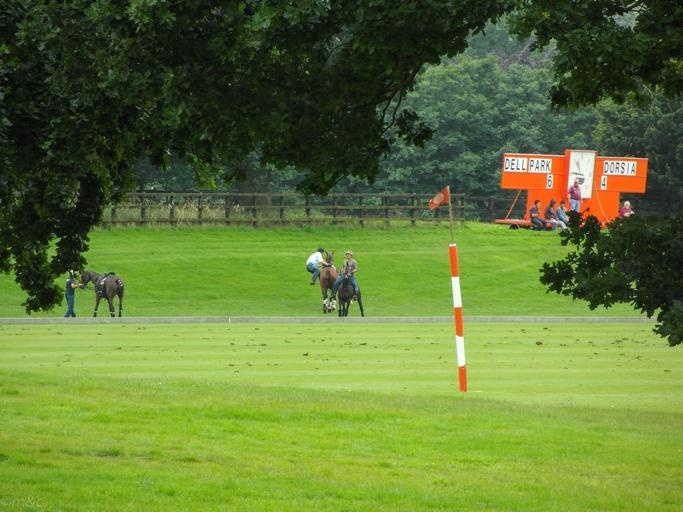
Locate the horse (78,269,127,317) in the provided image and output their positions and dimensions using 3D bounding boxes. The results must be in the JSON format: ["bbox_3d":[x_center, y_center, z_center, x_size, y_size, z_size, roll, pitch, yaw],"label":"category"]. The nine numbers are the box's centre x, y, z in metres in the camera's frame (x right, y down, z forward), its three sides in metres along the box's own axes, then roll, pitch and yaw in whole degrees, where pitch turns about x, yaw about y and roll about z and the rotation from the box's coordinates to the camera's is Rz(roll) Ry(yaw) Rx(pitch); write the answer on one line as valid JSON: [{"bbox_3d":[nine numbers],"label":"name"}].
[{"bbox_3d":[-6.303,0.979,46.393,1.023,1.200,1.303,-1,0,-39],"label":"horse"}]

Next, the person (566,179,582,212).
[{"bbox_3d":[7.983,-2.155,60.145,0.449,1.042,1.973,-1,0,8],"label":"person"}]

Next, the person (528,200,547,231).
[{"bbox_3d":[6.856,-1.467,61.201,0.576,0.920,0.901,-1,0,6],"label":"person"}]

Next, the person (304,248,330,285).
[{"bbox_3d":[-0.657,0.222,50.402,1.071,0.957,0.516,-9,11,-44],"label":"person"}]
